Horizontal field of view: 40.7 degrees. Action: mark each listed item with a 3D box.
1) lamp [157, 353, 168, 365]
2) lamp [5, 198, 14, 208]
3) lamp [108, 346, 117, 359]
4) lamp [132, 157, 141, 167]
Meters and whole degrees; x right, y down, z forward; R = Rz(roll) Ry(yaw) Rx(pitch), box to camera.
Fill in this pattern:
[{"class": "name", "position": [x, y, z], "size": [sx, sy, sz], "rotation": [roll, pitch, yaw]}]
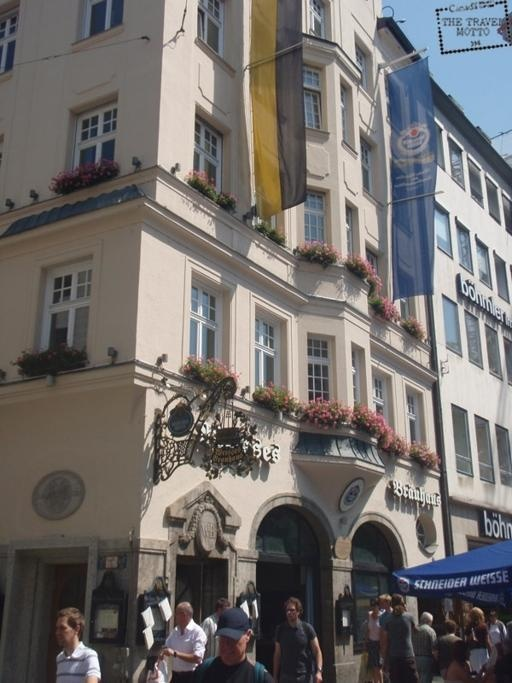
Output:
[{"class": "lamp", "position": [-1.446, 0.270, 10.685], "size": [0.169, 0.184, 0.102], "rotation": [-1, -6, 27]}, {"class": "lamp", "position": [-4.709, -2.656, 13.232], "size": [0.122, 0.218, 0.201], "rotation": [2, -7, -2]}, {"class": "lamp", "position": [-2.146, 0.152, 10.339], "size": [0.115, 0.167, 0.165], "rotation": [-2, -14, 10]}, {"class": "lamp", "position": [-2.008, -3.047, 11.722], "size": [0.112, 0.208, 0.192], "rotation": [-5, 12, 2]}]
